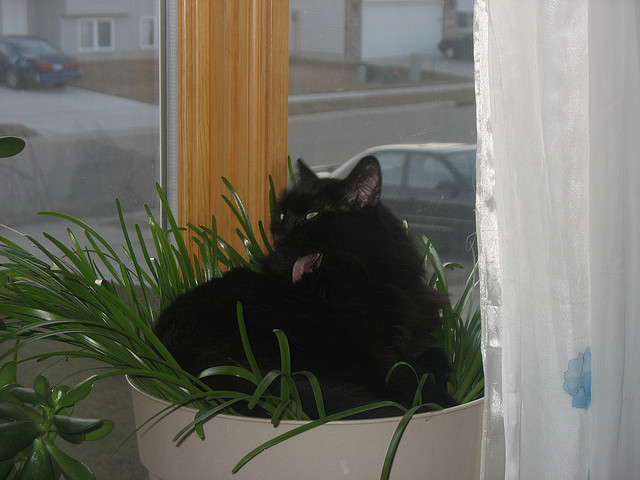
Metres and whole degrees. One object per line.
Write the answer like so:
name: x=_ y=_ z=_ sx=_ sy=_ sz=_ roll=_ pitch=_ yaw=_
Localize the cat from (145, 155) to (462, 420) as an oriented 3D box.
cat: x=-0.035 y=0.097 z=1.173 sx=0.523 sy=0.499 sz=0.351 roll=16 pitch=15 yaw=37
